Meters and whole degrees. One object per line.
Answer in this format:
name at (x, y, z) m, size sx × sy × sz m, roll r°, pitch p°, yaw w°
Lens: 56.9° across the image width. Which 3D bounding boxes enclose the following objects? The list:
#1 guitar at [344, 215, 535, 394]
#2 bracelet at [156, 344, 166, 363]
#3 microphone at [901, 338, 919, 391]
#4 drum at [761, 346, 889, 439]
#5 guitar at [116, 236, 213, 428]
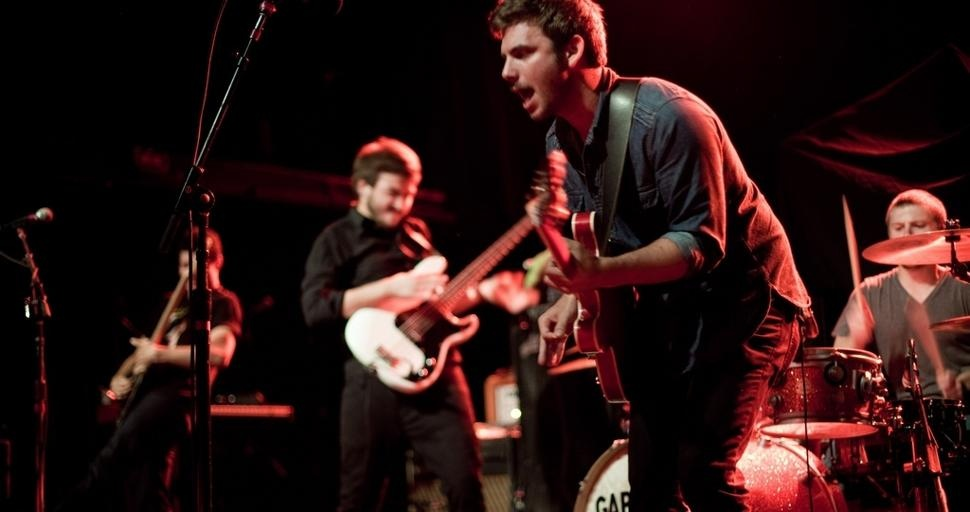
guitar at (-0.320, 0.451, 8.646) m, size 0.965 × 2.416 × 0.300 m, roll 46°, pitch -17°, yaw 0°
bracelet at (-3.327, 1.003, 9.171) m, size 0.126 × 0.191 × 0.058 m, roll 8°, pitch 8°, yaw -5°
microphone at (4.293, 1.089, 9.041) m, size 0.052 × 0.223 × 0.561 m, roll -15°, pitch -28°, yaw 16°
drum at (3.101, 1.319, 8.436) m, size 1.011 × 0.569 × 0.982 m, roll -1°, pitch -16°, yaw 0°
guitar at (-3.252, 0.822, 9.027) m, size 0.217 × 2.325 × 0.326 m, roll 31°, pitch -10°, yaw 11°
